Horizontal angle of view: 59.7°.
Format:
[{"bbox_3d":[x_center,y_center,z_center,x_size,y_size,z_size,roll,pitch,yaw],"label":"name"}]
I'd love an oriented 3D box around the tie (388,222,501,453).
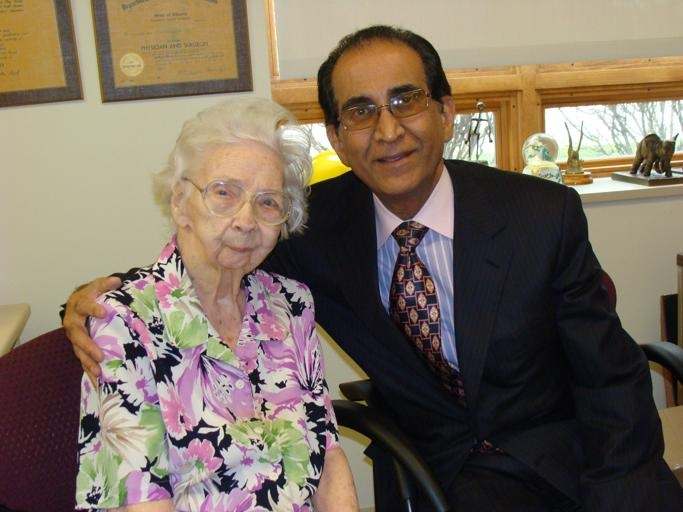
[{"bbox_3d":[0.303,0.232,2.074,0.236,0.858,0.253,-7,-5,-34],"label":"tie"}]
